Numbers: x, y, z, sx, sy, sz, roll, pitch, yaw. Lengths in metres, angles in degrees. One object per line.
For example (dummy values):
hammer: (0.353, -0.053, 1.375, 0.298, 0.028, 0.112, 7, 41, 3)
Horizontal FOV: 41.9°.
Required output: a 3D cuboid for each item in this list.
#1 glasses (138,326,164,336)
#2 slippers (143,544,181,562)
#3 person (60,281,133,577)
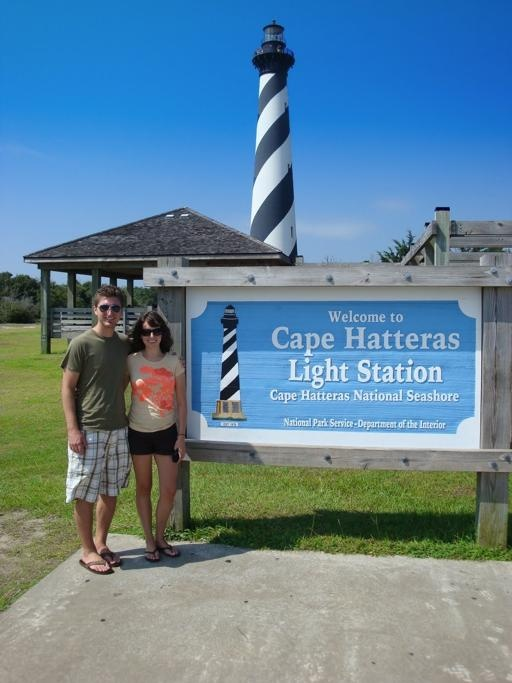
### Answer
glasses: (-0.651, -0.063, 4.197, 0.116, 0.059, 0.052, 0, 2, -14)
slippers: (-0.578, 1.333, 4.264, 0.288, 0.060, 0.152, -2, 3, -42)
person: (-0.970, 0.513, 4.105, 0.403, 1.715, 0.355, 0, 1, -11)
